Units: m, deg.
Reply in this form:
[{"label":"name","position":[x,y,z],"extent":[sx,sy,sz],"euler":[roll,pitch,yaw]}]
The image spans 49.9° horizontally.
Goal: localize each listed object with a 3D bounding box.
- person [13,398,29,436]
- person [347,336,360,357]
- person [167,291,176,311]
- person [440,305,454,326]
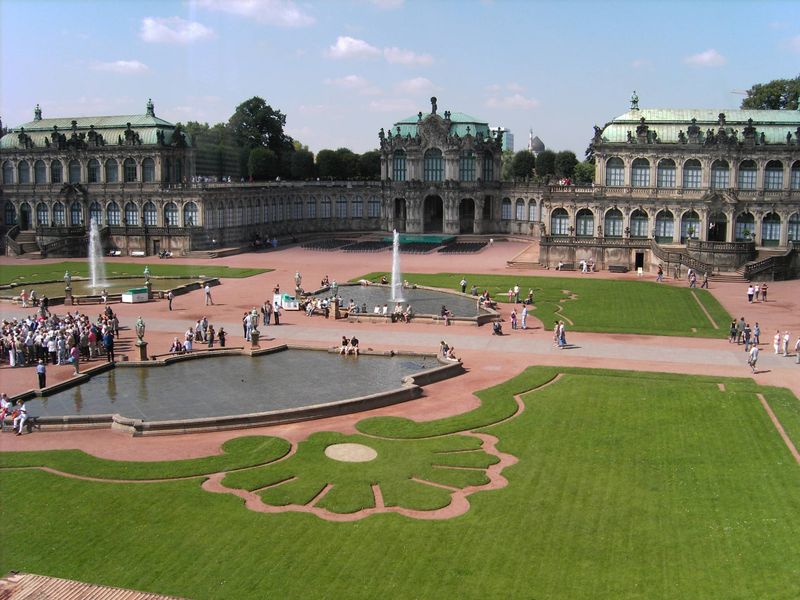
[{"label":"person","position":[-20.197,6.333,45.616],"extent":[0.743,1.230,0.882],"euler":[-6,13,-31]},{"label":"person","position":[-3.334,3.205,60.517],"extent":[0.805,1.109,1.018],"euler":[-3,11,-16]},{"label":"person","position":[-21.300,0.048,79.661],"extent":[0.589,1.795,0.709],"euler":[-1,7,13]},{"label":"person","position":[3.761,1.351,71.398],"extent":[0.905,1.120,1.140],"euler":[0,11,-2]}]
